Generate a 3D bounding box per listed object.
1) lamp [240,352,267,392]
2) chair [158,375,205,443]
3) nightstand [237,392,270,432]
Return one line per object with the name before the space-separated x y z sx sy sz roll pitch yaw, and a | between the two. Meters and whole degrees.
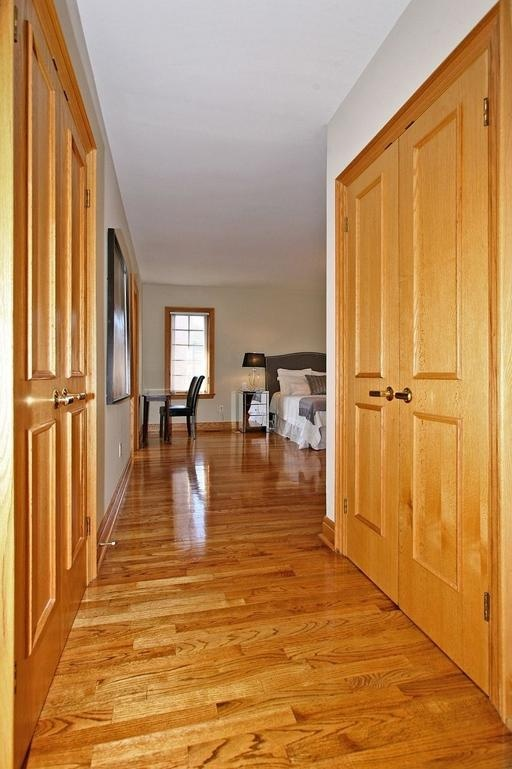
lamp | -0.044 -0.207 8.087 0.431 0.842 0.465 0 2 7
chair | -0.931 0.291 6.753 0.693 1.218 0.592 2 -1 -12
nightstand | -0.041 0.383 7.829 0.473 0.594 0.574 0 2 -2
